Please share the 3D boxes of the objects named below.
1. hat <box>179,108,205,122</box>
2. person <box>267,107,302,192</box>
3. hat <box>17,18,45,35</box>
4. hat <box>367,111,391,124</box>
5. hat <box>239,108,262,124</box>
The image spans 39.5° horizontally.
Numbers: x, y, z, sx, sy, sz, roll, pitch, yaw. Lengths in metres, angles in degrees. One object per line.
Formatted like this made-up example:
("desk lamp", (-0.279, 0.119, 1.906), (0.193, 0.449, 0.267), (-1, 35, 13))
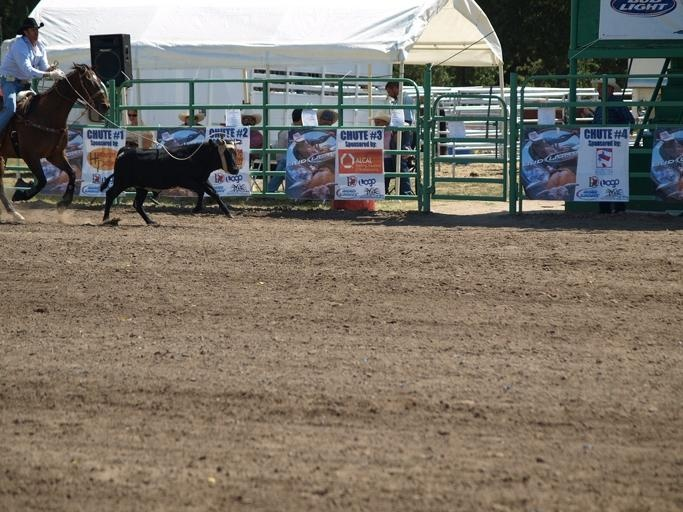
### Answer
("hat", (-2.848, -2.670, 18.137), (0.627, 0.154, 0.608), (-4, 13, 6))
("person", (-1.027, -1.843, 16.900), (0.604, 1.470, 1.369), (0, 9, 1))
("hat", (-4.920, -3.623, 15.011), (0.333, 0.307, 0.824), (-3, 10, -17))
("hat", (0.723, -2.481, 17.166), (0.505, 0.203, 0.554), (6, 3, -4))
("hat", (-1.747, -2.629, 18.058), (0.399, 0.168, 0.431), (-3, -34, -7))
